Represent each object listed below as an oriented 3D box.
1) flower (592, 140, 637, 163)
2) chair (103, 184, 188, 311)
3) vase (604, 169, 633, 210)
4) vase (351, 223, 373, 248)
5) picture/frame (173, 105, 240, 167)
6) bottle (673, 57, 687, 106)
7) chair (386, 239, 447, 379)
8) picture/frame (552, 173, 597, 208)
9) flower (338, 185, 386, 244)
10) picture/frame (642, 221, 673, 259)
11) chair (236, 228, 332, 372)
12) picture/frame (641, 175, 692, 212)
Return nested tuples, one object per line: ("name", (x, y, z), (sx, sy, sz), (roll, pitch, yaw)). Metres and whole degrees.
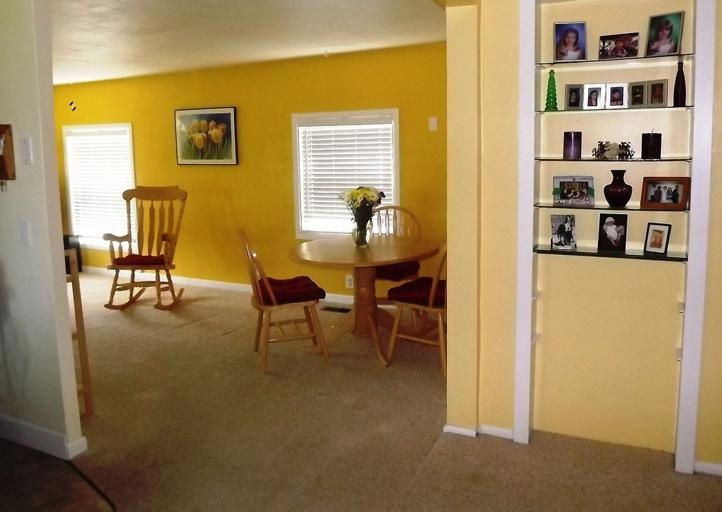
("flower", (1.523, -0.631, 3.274), (0.239, 0.108, 0.172), (5, 16, 24))
("chair", (-2.529, -0.077, 6.313), (1.008, 1.421, 1.101), (-4, 8, -31))
("vase", (1.557, -0.408, 3.284), (0.146, 0.220, 0.179), (10, 18, 37))
("vase", (0.014, -0.190, 4.871), (0.184, 0.220, 0.186), (0, 11, 1))
("picture/frame", (-1.850, -1.477, 6.637), (0.754, 0.581, 0.015), (4, 7, 26))
("bottle", (1.818, -0.983, 3.092), (0.060, 0.263, 0.111), (2, 15, 15))
("chair", (0.482, 0.297, 4.663), (0.485, 1.112, 1.338), (0, 15, 7))
("picture/frame", (1.321, -0.395, 3.341), (0.216, 0.188, 0.015), (1, 1, 16))
("flower", (0.057, -0.349, 4.950), (0.489, 0.585, 0.450), (6, 15, 19))
("picture/frame", (1.762, -0.092, 3.210), (0.029, 0.308, 0.206), (5, -2, -43))
("chair", (-0.632, 0.296, 4.676), (0.797, 1.070, 0.775), (2, 9, 18))
("picture/frame", (1.778, -0.357, 3.146), (0.205, 0.183, 0.073), (3, -1, 32))
